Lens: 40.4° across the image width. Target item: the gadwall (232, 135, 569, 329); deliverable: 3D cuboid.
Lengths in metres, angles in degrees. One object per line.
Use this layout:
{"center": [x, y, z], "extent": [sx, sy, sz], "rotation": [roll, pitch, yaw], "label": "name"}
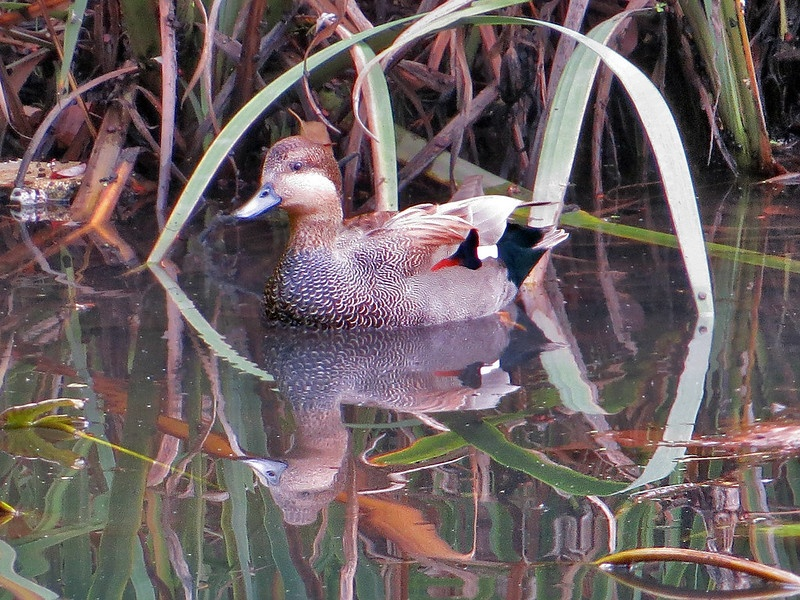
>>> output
{"center": [0.007, -0.214, 3.365], "extent": [1.140, 0.592, 0.495], "rotation": [-11, 22, -27], "label": "gadwall"}
